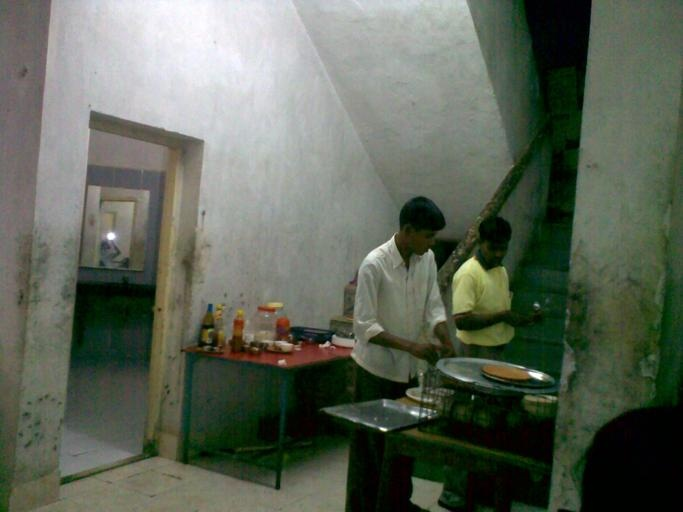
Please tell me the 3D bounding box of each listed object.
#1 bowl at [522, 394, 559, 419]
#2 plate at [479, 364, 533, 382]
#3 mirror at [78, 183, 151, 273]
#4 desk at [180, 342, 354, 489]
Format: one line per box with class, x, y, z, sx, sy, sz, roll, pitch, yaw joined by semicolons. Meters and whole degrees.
bowl;0.830;0.636;2.791;0.160;0.059;0.062;7;8;-15
plate;0.725;0.519;2.922;0.212;0.037;0.230;12;9;13
mirror;-2.498;-0.264;7.203;0.850;1.300;0.095;4;-20;-15
desk;-0.612;0.839;5.001;0.794;0.777;1.494;1;-1;25
